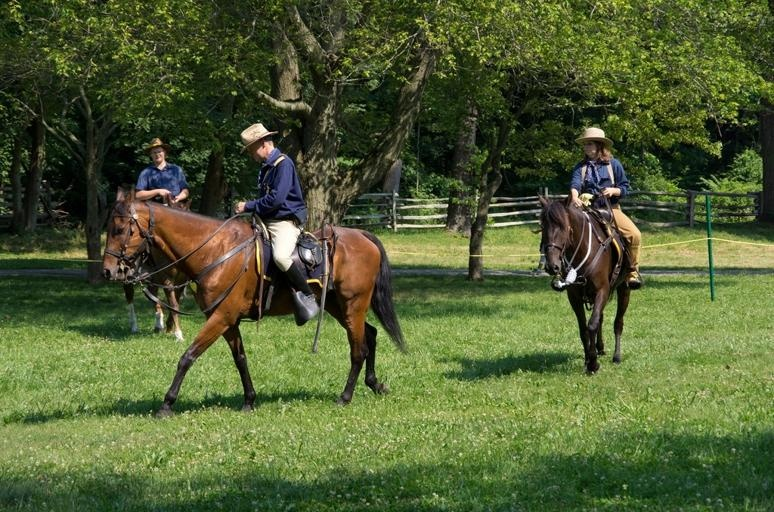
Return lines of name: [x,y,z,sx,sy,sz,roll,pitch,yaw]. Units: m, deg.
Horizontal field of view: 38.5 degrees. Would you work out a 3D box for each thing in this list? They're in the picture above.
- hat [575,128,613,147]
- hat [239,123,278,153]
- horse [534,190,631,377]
hat: [4.659,-2.673,24.882,0.754,0.498,0.896,0,15,10]
hat: [-2.543,-2.411,22.108,0.615,0.492,0.460,-3,15,-2]
horse: [4.357,0.506,24.026,1.333,3.647,2.605,8,19,37]
